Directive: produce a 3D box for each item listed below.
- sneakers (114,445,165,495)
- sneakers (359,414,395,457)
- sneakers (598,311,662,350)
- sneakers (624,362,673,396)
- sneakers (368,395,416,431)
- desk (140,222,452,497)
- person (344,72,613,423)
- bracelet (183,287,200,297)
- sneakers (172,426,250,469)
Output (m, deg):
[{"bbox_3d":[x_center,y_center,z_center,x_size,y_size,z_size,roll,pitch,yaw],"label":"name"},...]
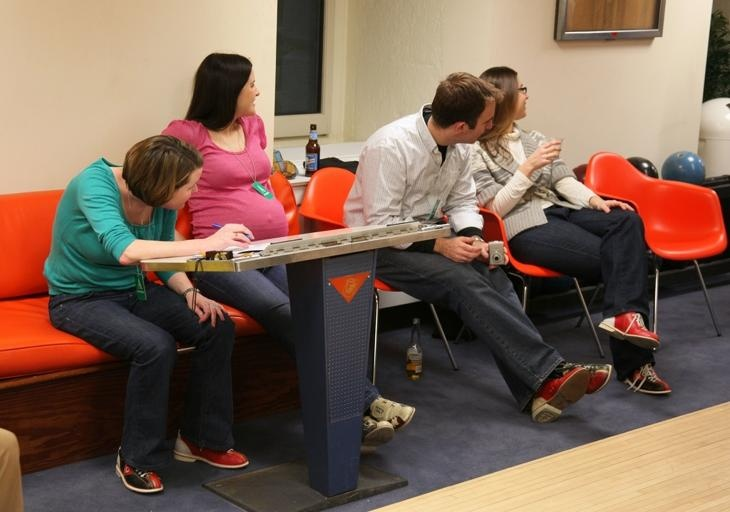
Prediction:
[{"bbox_3d":[-0.921,0.868,2.263,0.239,0.113,0.106,12,12,38],"label":"sneakers"},{"bbox_3d":[0.028,0.770,2.391,0.083,0.117,0.246,8,-20,-37],"label":"sneakers"},{"bbox_3d":[1.461,0.383,3.027,0.130,0.165,0.353,19,-1,-22],"label":"sneakers"},{"bbox_3d":[1.599,0.694,3.146,0.133,0.104,0.236,-3,5,-32],"label":"sneakers"},{"bbox_3d":[0.099,0.680,2.474,0.118,0.149,0.322,-39,9,-31],"label":"sneakers"},{"bbox_3d":[-0.152,0.324,2.151,0.449,1.044,1.109,10,16,38],"label":"desk"},{"bbox_3d":[0.552,-0.087,2.768,0.636,1.563,1.513,-10,25,-33],"label":"person"},{"bbox_3d":[-0.749,0.155,2.383,0.060,0.031,0.080,7,7,32],"label":"bracelet"},{"bbox_3d":[-0.667,0.858,2.456,0.354,0.159,0.128,6,7,14],"label":"sneakers"}]
